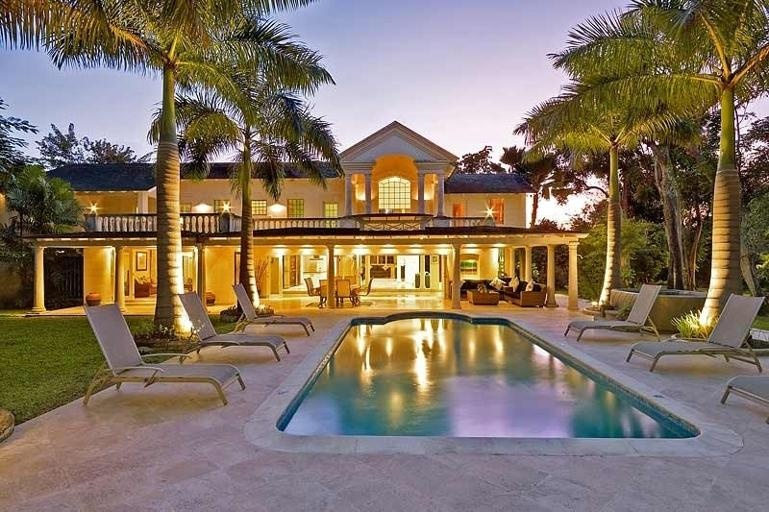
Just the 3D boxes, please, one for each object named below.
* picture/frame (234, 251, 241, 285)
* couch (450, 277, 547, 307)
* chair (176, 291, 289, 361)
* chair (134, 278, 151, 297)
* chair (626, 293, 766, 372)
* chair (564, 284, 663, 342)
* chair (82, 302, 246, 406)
[{"bbox_3d":[-7.543,0.558,25.901,0.260,1.595,1.496,-1,2,-18],"label":"picture/frame"},{"bbox_3d":[5.542,1.767,24.787,3.316,1.069,5.188,0,1,-6],"label":"couch"},{"bbox_3d":[-3.949,1.868,13.543,2.502,1.660,1.656,1,-3,-3],"label":"chair"},{"bbox_3d":[-12.970,1.844,27.102,0.729,1.028,1.357,0,0,-13],"label":"chair"},{"bbox_3d":[7.622,1.928,12.639,2.960,2.015,1.764,1,-6,2],"label":"chair"},{"bbox_3d":[6.931,1.762,15.515,2.887,1.990,1.538,1,-6,2],"label":"chair"},{"bbox_3d":[-4.737,2.108,11.269,3.127,2.082,1.956,0,-2,-4],"label":"chair"}]
